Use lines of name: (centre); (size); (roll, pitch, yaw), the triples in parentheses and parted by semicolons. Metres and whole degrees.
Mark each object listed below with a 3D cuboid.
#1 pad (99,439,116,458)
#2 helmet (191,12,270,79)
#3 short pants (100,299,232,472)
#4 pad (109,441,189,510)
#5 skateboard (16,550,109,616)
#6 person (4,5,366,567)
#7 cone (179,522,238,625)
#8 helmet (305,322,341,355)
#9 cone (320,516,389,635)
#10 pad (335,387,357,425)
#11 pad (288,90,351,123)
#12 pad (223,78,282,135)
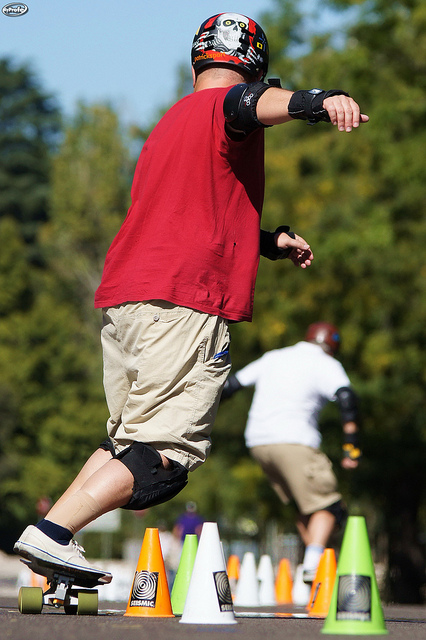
pad: (-0.403, 0.496, 3.596); (0.022, 0.064, 0.049); (-59, 22, -18)
helmet: (0.064, -1.103, 3.744); (0.316, 0.261, 0.329); (-3, 16, 1)
short pants: (-0.193, 0.239, 3.526); (0.509, 0.646, 0.434); (-3, 17, 4)
pad: (-0.293, 0.566, 3.430); (0.295, 0.189, 0.215); (1, 60, -12)
skateboard: (-0.568, 0.993, 3.562); (0.389, 0.221, 0.371); (4, -9, 11)
person: (-0.256, -0.183, 3.610); (1.457, 1.947, 0.890); (-13, 20, -27)
cone: (-0.017, 0.975, 3.514); (0.212, 0.373, 0.404); (-3, 16, 5)
helmet: (0.738, 0.119, 6.419); (0.212, 0.189, 0.256); (2, -7, 30)
cone: (0.483, 0.881, 3.205); (0.205, 0.334, 0.313); (-1, 17, 9)
pad: (0.813, 0.526, 5.693); (0.127, 0.160, 0.262); (-2, 16, 7)
pad: (0.383, -0.743, 3.318); (0.186, 0.071, 0.129); (11, 56, 3)
pad: (0.124, -0.787, 3.429); (0.192, 0.165, 0.101); (12, 23, 42)
